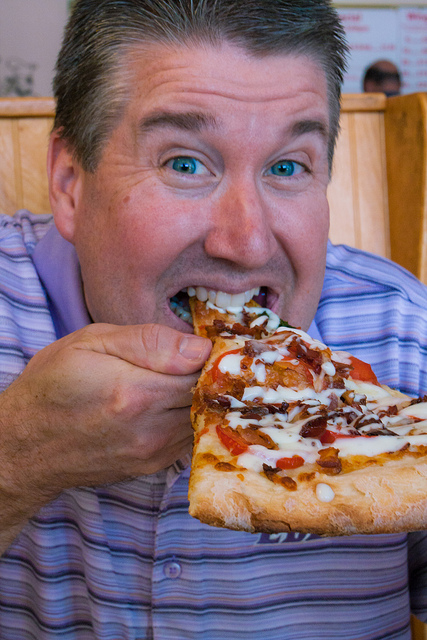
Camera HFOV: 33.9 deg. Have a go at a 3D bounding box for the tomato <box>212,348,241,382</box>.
[{"bbox_3d":[0.025,0.092,1.462,0.056,0.064,0.016,5,56,-29],"label":"tomato"}]

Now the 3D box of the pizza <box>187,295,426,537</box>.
[{"bbox_3d":[0.202,0.188,1.384,0.511,0.250,0.502,-6,17,0],"label":"pizza"}]

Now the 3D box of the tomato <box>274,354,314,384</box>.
[{"bbox_3d":[0.163,0.098,1.471,0.074,0.016,0.046,33,8,30],"label":"tomato"}]

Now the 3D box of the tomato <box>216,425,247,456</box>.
[{"bbox_3d":[0.032,0.218,1.272,0.054,0.013,0.030,40,1,44],"label":"tomato"}]
